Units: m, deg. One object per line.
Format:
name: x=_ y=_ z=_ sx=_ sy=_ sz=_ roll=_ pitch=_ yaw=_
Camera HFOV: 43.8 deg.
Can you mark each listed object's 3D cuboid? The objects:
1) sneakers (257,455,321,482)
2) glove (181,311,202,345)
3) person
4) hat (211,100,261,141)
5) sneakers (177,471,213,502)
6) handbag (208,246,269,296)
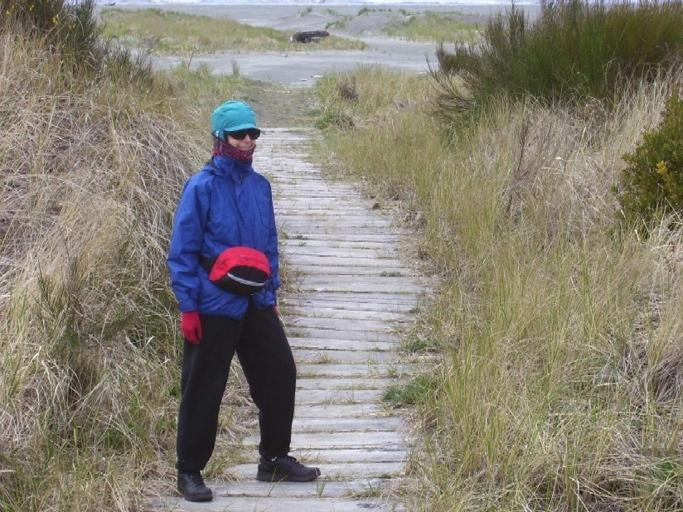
sneakers: x=-0.372 y=1.522 z=6.068 sx=0.444 sy=0.270 sz=0.197 roll=1 pitch=3 yaw=-3
glove: x=-1.046 y=0.490 z=5.862 sx=0.065 sy=0.226 sz=0.138 roll=-14 pitch=4 yaw=-39
person: x=-0.751 y=0.288 z=5.970 sx=0.926 sy=2.598 sz=0.880 roll=-1 pitch=15 yaw=-14
hat: x=-0.745 y=-0.951 z=5.944 sx=0.214 sy=0.238 sz=0.325 roll=-9 pitch=13 yaw=-31
sneakers: x=-1.003 y=1.586 z=5.845 sx=0.114 sy=0.153 sz=0.297 roll=-4 pitch=4 yaw=-34
handbag: x=-0.691 y=0.055 z=5.981 sx=0.463 sy=0.334 sz=0.381 roll=2 pitch=-25 yaw=-24
